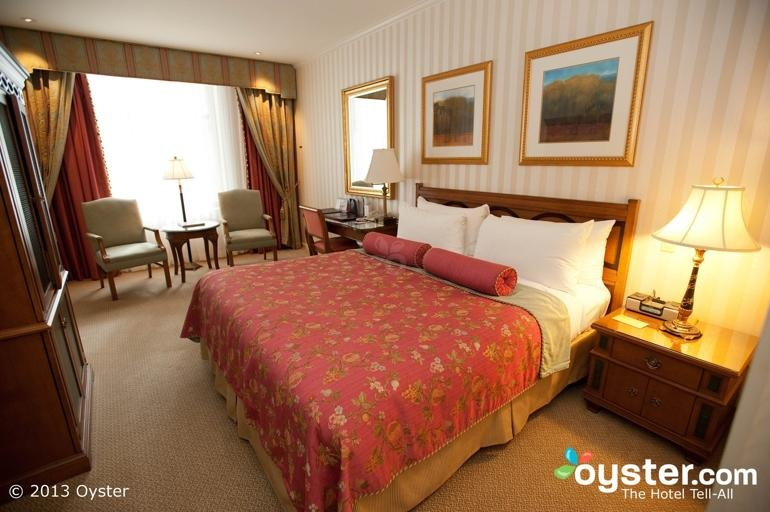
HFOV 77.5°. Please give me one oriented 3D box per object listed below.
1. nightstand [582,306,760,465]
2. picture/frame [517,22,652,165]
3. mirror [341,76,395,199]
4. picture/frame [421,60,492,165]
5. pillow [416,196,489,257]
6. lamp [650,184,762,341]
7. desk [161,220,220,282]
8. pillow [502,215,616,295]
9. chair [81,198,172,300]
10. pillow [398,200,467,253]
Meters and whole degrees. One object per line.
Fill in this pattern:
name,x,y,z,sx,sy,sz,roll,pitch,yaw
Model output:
nightstand,2.258,0.753,3.774,1.036,0.897,1.038,-13,21,-43
picture/frame,1.736,-1.394,4.066,0.088,1.216,1.150,-11,18,-43
mirror,-0.186,-1.481,5.807,0.096,1.558,1.303,-11,19,-34
picture/frame,0.754,-1.483,4.881,0.071,1.031,0.975,-13,20,-41
pillow,0.661,-0.263,4.554,0.164,0.374,0.558,20,0,-30
lamp,2.291,0.030,3.474,0.512,1.143,0.448,-5,16,-19
desk,-2.581,-0.221,6.362,0.843,0.824,0.845,-7,18,-25
pillow,1.483,0.009,4.007,0.566,0.367,0.147,19,-1,43
chair,-3.256,-0.074,5.943,0.821,1.489,0.862,12,20,36
pillow,0.463,-0.267,4.628,0.153,0.308,0.508,13,-2,-45
